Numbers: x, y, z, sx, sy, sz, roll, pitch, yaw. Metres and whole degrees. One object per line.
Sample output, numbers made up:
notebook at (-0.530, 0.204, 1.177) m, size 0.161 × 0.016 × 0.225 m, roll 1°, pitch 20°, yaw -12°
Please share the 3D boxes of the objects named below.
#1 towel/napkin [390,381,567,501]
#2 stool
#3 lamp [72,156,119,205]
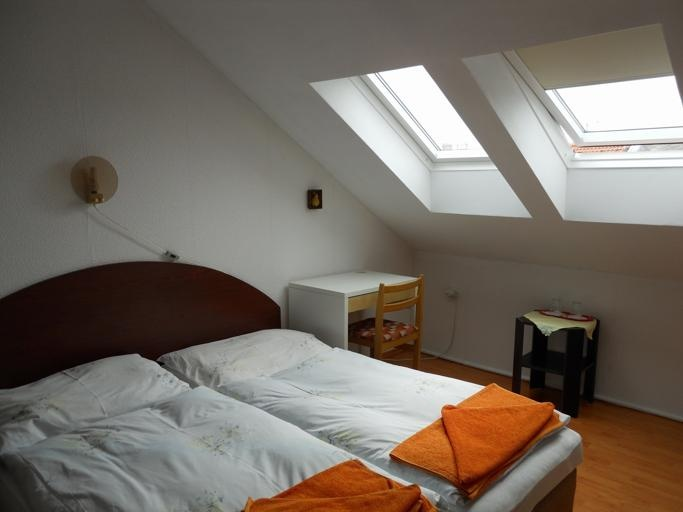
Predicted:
towel/napkin at (0.671, 0.839, 2.357) m, size 0.671 × 0.109 × 0.384 m, roll -16°, pitch 20°, yaw -41°
stool at (1.581, 0.825, 3.929) m, size 0.650 × 0.999 × 0.680 m, roll 6°, pitch 13°, yaw 33°
lamp at (-1.391, -0.428, 2.829) m, size 0.245 × 0.278 × 0.076 m, roll 2°, pitch 3°, yaw -27°
